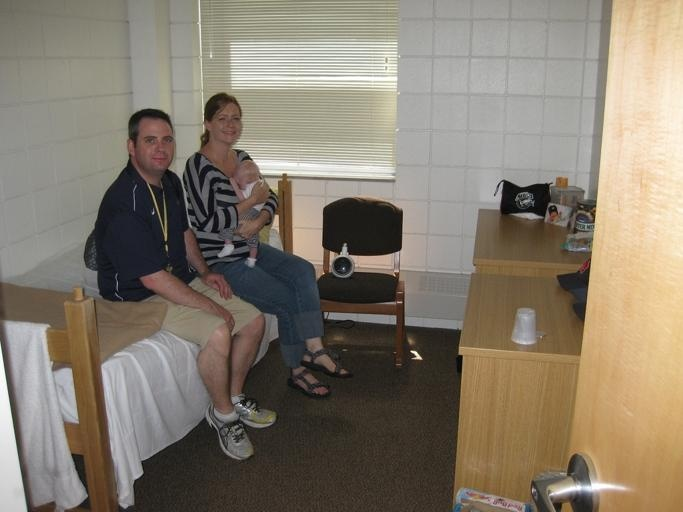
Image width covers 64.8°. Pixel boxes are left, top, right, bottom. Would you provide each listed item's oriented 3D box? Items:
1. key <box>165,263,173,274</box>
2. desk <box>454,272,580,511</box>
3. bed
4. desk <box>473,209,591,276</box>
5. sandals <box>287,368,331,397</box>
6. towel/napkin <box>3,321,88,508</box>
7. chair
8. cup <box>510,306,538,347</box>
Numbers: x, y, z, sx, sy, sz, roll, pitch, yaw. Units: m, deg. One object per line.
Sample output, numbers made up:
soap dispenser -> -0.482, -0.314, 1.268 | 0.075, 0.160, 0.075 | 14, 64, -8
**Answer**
key -> -0.837, 0.061, 2.609 | 0.035, 0.059, 0.017 | 15, 30, 24
desk -> 0.596, 0.461, 1.810 | 0.287, 0.683, 0.715 | 5, 15, 15
bed -> -0.801, 0.432, 2.414 | 0.842, 0.760, 1.286 | 1, 9, 2
desk -> 0.998, -0.052, 2.972 | 0.320, 0.301, 0.611 | 3, 25, 8
sandals -> -0.196, 0.737, 3.207 | 0.256, 0.115, 0.123 | 13, 32, 30
towel/napkin -> -1.121, 0.621, 1.998 | 0.292, 0.762, 0.133 | 6, 12, 19
chair -> 0.131, 0.169, 3.667 | 0.620, 1.067, 0.611 | 2, 15, 9
cup -> 0.652, 0.245, 1.903 | 0.092, 0.105, 0.095 | -3, 20, 1
